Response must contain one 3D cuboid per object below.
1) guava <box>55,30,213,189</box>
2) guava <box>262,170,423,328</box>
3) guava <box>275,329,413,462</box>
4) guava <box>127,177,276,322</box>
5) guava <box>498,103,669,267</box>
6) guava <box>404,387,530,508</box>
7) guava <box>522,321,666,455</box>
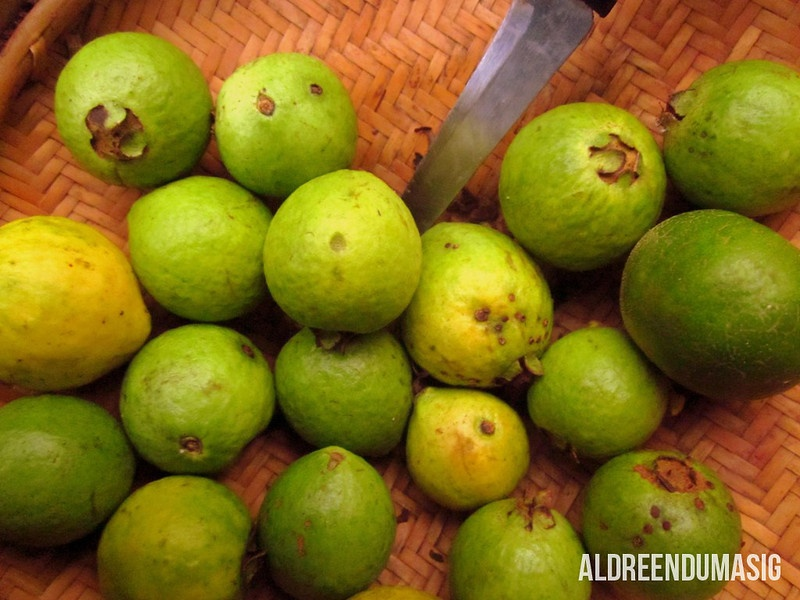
[{"bbox_3d":[-0.795,-0.529,2.091,0.346,0.411,0.447,12,67,-13],"label":"guava"},{"bbox_3d":[-0.142,-0.098,1.792,0.343,0.304,0.414,9,89,-5],"label":"guava"},{"bbox_3d":[-0.152,0.254,2.128,0.313,0.296,0.382,-42,100,8],"label":"guava"},{"bbox_3d":[-0.535,-0.162,2.036,0.403,0.311,0.351,27,41,20],"label":"guava"},{"bbox_3d":[0.515,-0.325,2.034,0.441,0.303,0.410,-13,68,-8],"label":"guava"},{"bbox_3d":[0.197,0.422,2.051,0.355,0.181,0.323,6,67,0],"label":"guava"},{"bbox_3d":[0.592,0.251,2.131,0.384,0.311,0.362,24,33,10],"label":"guava"}]
